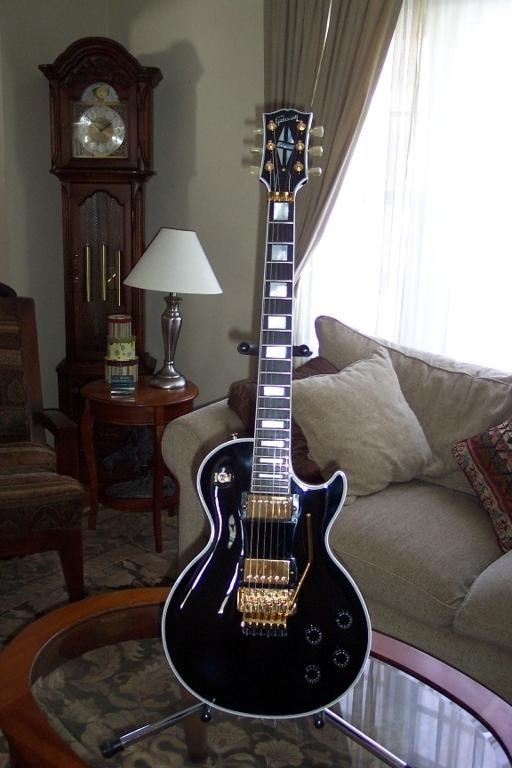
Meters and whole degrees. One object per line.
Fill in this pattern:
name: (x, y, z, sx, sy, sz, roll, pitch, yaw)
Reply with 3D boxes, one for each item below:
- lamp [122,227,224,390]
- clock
lamp: (-0.304, -0.269, 2.348, 0.338, 0.572, 0.353, 5, 7, 7)
clock: (-0.639, -1.079, 2.653, 0.436, 0.570, 0.196, -2, -11, -7)
